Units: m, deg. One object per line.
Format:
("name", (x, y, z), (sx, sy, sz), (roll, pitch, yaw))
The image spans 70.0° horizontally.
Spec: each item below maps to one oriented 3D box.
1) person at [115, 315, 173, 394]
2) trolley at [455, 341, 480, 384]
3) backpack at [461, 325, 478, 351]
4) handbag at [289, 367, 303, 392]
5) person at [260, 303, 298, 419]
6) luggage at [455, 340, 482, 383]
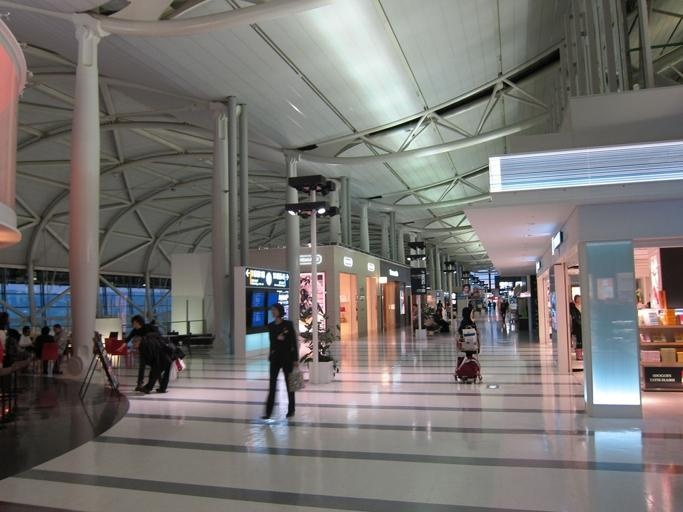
("person", (-4.450, 2.234, 11.355), (0.937, 1.705, 1.451), (1, -6, -23))
("trolley", (2.968, 2.570, 11.437), (0.582, 0.716, 0.625), (-3, -6, 15))
("backpack", (2.993, 1.952, 11.421), (0.599, 0.632, 0.362), (-1, -13, 9))
("handbag", (-0.790, 2.205, 8.671), (0.238, 0.502, 0.738), (-1, -6, -5))
("person", (-1.067, 1.955, 8.516), (0.612, 1.653, 0.531), (-1, -6, 4))
("luggage", (2.951, 2.517, 11.442), (0.756, 0.805, 0.746), (2, -11, 29))
